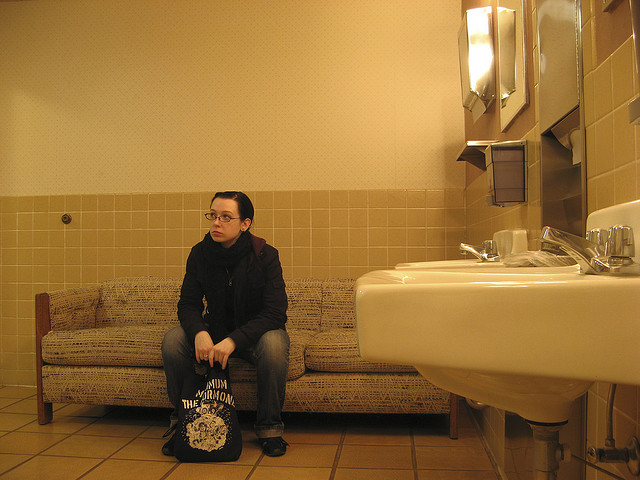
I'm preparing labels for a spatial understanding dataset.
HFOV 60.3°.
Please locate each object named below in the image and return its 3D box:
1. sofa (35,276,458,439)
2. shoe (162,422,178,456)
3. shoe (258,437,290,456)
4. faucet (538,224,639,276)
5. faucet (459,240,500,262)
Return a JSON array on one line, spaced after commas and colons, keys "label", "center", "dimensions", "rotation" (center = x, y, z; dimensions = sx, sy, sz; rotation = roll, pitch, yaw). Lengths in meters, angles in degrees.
[{"label": "sofa", "center": [-0.444, 0.646, 3.314], "dimensions": [2.294, 0.942, 0.788], "rotation": [0, -6, 4]}, {"label": "shoe", "center": [-0.737, 0.990, 2.727], "dimensions": [0.062, 0.081, 0.209], "rotation": [0, -6, 5]}, {"label": "shoe", "center": [-0.226, 0.996, 2.697], "dimensions": [0.144, 0.075, 0.122], "rotation": [0, 3, -2]}, {"label": "faucet", "center": [0.733, 0.030, 1.493], "dimensions": [0.169, 0.088, 0.187], "rotation": [3, -3, 4]}, {"label": "faucet", "center": [0.655, 0.056, 2.229], "dimensions": [0.160, 0.075, 0.099], "rotation": [2, -3, -27]}]
